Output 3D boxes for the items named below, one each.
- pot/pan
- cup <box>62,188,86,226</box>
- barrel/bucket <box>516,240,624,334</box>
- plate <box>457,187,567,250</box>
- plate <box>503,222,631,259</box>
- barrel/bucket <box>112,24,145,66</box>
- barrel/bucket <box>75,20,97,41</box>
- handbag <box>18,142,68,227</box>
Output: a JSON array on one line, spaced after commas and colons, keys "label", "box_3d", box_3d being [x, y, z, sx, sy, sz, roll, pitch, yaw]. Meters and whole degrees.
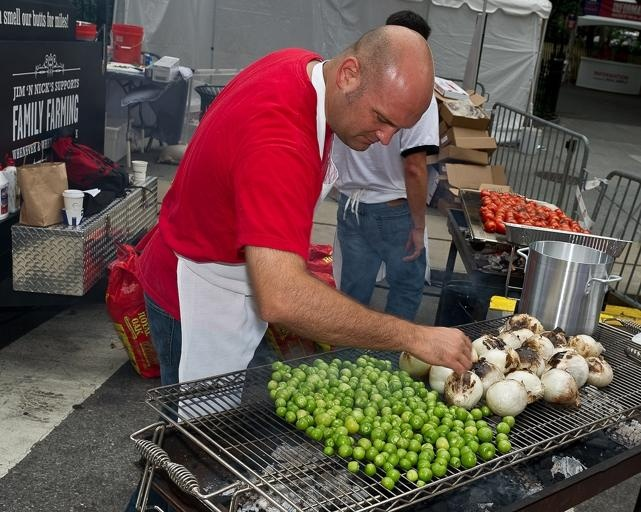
[{"label": "pot/pan", "box_3d": [1.239, 0.164, 2.288, 0.407, 0.401, 0.564, -5, 18, -19]}, {"label": "cup", "box_3d": [-2.162, -0.419, 3.810, 0.192, 0.320, 0.198, 7, 10, -1]}, {"label": "barrel/bucket", "box_3d": [1.235, 0.193, 2.332, 0.471, 0.388, 0.473, 16, 7, -2]}, {"label": "plate", "box_3d": [1.581, -0.323, 3.766, 0.534, 0.129, 0.911, 5, 22, -4]}, {"label": "plate", "box_3d": [1.672, -0.108, 3.031, 0.428, 0.083, 0.447, 11, 12, -17]}, {"label": "barrel/bucket", "box_3d": [-3.932, -4.235, 9.017, 0.777, 0.861, 0.729, 11, 27, -6]}, {"label": "barrel/bucket", "box_3d": [-3.066, -2.914, 5.801, 0.226, 0.197, 0.535, -8, 25, -27]}, {"label": "handbag", "box_3d": [-2.373, -0.543, 3.799, 0.244, 0.494, 0.381, 17, 24, 13]}]
